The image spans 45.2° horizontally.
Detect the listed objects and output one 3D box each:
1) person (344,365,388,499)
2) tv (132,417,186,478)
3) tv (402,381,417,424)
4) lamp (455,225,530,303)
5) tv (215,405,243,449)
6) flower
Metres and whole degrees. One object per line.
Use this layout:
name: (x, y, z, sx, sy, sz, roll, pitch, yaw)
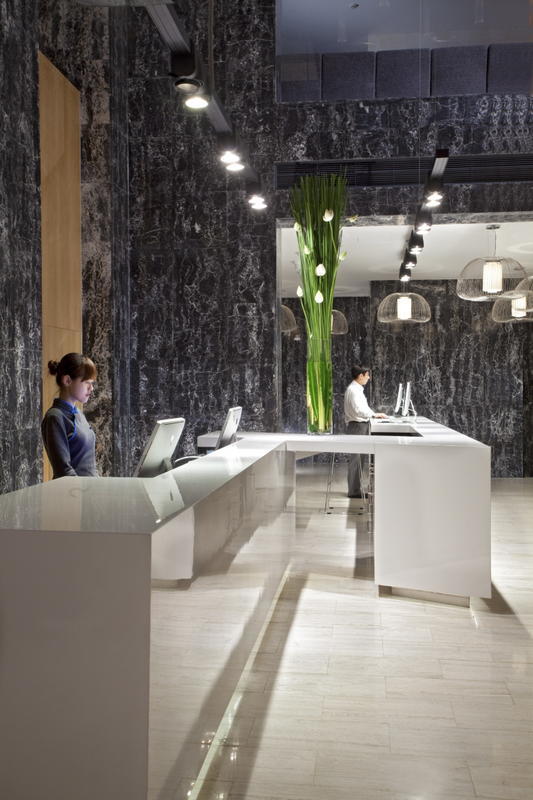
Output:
person: (1.137, 0.353, 7.489, 0.388, 1.485, 0.433, 0, 4, 7)
tv: (-0.426, 0.194, 2.557, 0.170, 0.229, 0.311, 10, 2, 8)
tv: (1.902, 0.041, 8.489, 0.188, 0.580, 0.525, 1, -3, 8)
lamp: (2.563, -1.574, 7.208, 0.780, 1.048, 0.862, 1, 4, 18)
tv: (-0.205, 0.154, 3.513, 0.169, 0.193, 0.253, 15, 2, 12)
flower: (0.354, -0.656, 4.378, 0.362, 1.626, 0.418, 0, 0, 6)
